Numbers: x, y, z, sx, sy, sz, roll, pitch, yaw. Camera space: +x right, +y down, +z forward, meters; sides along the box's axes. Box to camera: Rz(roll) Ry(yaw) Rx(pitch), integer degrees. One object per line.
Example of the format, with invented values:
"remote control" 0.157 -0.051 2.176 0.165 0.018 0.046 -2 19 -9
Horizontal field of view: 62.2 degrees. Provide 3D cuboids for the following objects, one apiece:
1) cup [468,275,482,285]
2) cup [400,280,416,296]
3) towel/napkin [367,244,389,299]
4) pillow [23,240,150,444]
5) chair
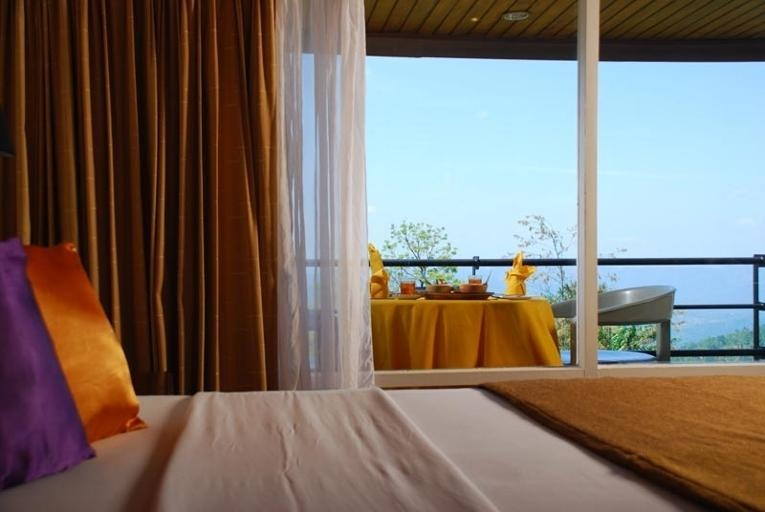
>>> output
"cup" 0.633 0.170 4.359 0.062 0.066 0.061 -1 -2 0
"cup" 0.167 0.224 4.246 0.083 0.089 0.088 -1 -2 0
"towel/napkin" -0.036 0.115 4.279 0.174 0.465 0.319 -2 -3 -3
"pillow" -1.035 0.290 2.223 0.162 0.625 0.514 -13 4 2
"chair" 1.707 0.468 4.559 0.593 0.502 0.634 1 -5 -1
